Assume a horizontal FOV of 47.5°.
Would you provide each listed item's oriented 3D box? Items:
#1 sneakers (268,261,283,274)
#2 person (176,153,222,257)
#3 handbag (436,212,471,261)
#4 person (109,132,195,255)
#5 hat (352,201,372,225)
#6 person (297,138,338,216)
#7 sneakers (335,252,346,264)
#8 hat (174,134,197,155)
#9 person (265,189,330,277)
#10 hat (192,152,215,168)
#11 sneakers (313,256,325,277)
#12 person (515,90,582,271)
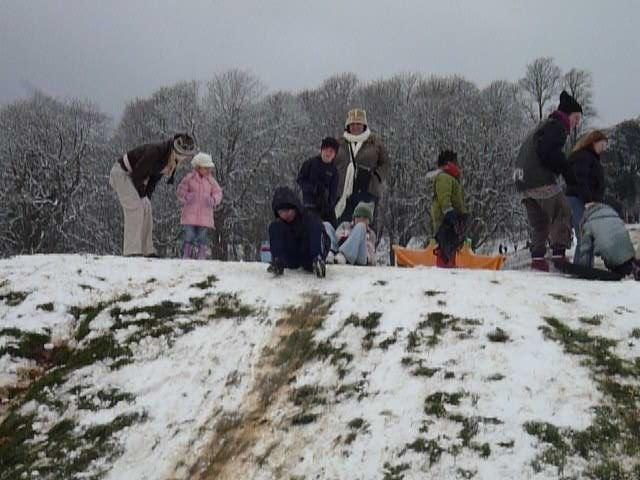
[{"bbox_3d":[-0.713,0.461,11.791,0.133,0.291,0.250,3,-4,-9],"label":"sneakers"},{"bbox_3d":[-2.321,-0.589,13.854,0.631,2.194,0.620,-1,-19,2],"label":"person"},{"bbox_3d":[2.285,-0.064,12.725,0.390,0.993,0.297,5,11,-5],"label":"handbag"},{"bbox_3d":[-3.100,-0.736,13.100,1.186,2.443,0.895,3,-13,-1],"label":"person"},{"bbox_3d":[0.811,-0.496,13.616,0.235,0.361,0.385,9,-2,4],"label":"hat"},{"bbox_3d":[-0.068,-0.816,13.782,0.548,2.394,0.603,7,23,2],"label":"person"},{"bbox_3d":[0.376,0.346,13.246,0.218,0.196,0.098,-3,-1,-3],"label":"sneakers"},{"bbox_3d":[-2.424,-1.715,13.012,0.235,0.444,0.206,-15,33,-10],"label":"hat"},{"bbox_3d":[-0.460,-0.195,12.092,0.801,1.551,1.765,-6,3,0],"label":"person"},{"bbox_3d":[-2.214,-1.527,13.855,0.308,0.405,0.321,2,12,2],"label":"hat"},{"bbox_3d":[-0.023,0.449,11.762,0.090,0.317,0.201,-10,-19,-22],"label":"sneakers"},{"bbox_3d":[3.967,-1.096,12.635,0.706,3.007,1.007,-1,9,1],"label":"person"}]
